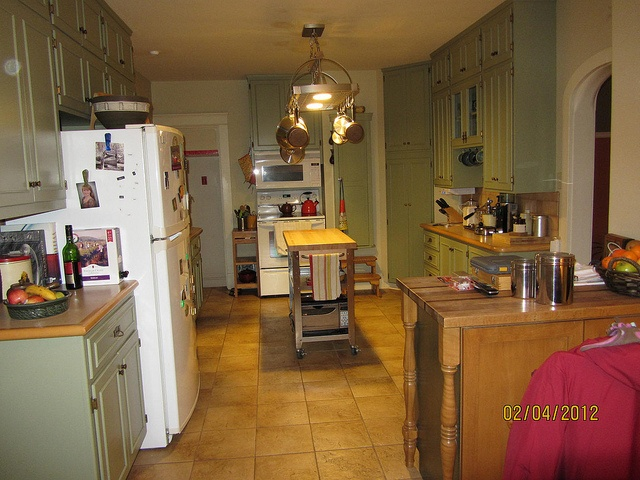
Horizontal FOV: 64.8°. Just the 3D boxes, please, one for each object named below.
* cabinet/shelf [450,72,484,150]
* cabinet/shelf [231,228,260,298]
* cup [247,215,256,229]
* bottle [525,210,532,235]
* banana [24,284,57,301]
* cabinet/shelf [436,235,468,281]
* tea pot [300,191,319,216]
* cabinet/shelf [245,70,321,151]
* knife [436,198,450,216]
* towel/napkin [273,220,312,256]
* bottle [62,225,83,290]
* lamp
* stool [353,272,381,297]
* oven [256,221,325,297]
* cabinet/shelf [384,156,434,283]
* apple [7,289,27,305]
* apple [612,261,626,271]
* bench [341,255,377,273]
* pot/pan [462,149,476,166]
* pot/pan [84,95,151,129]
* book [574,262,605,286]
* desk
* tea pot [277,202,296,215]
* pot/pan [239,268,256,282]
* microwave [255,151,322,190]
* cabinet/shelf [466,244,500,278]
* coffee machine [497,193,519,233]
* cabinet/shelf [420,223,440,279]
[{"bbox_3d":[1.723,-1.362,5.598,0.299,0.769,0.657,-2,4,-13],"label":"cabinet/shelf"},{"bbox_3d":[-1.075,0.318,7.243,0.380,0.937,0.618,-4,12,-9],"label":"cabinet/shelf"},{"bbox_3d":[-0.971,-0.244,7.151,0.158,0.211,0.097,-3,12,-1],"label":"cup"},{"bbox_3d":[2.028,-0.162,4.902,0.065,0.210,0.120,2,13,19],"label":"bottle"},{"bbox_3d":[-1.573,0.291,2.847,0.158,0.049,0.082,18,17,-15],"label":"banana"},{"bbox_3d":[1.381,0.174,5.231,0.225,0.411,0.422,0,8,-4],"label":"cabinet/shelf"},{"bbox_3d":[-0.174,-0.504,7.171,0.349,0.351,0.239,1,-1,-42],"label":"tea pot"},{"bbox_3d":[-0.525,-1.863,7.152,0.970,1.254,0.439,-5,51,-7],"label":"cabinet/shelf"},{"bbox_3d":[1.581,-0.413,6.523,0.168,0.232,0.390,0,12,13],"label":"knife"},{"bbox_3d":[-0.355,-0.029,6.984,0.575,0.545,0.062,-6,36,-12],"label":"towel/napkin"},{"bbox_3d":[-1.624,0.114,3.284,0.113,0.416,0.104,-2,12,1],"label":"bottle"},{"bbox_3d":[-0.019,-1.227,4.129,0.715,0.979,0.681,-5,9,-4],"label":"lamp"},{"bbox_3d":[0.640,0.549,6.856,0.305,0.220,0.418,-1,7,-2],"label":"stool"},{"bbox_3d":[-0.592,0.249,7.320,0.802,1.082,0.740,-2,4,-26],"label":"oven"},{"bbox_3d":[1.276,-0.236,7.008,0.722,1.866,0.235,-1,2,34],"label":"cabinet/shelf"},{"bbox_3d":[-1.669,0.314,2.775,0.085,0.085,0.086,-20,0,8],"label":"apple"},{"bbox_3d":[1.679,0.145,2.825,0.054,0.076,0.053,-6,7,-45],"label":"apple"},{"bbox_3d":[0.620,0.311,7.118,0.365,0.343,0.281,-1,7,-3],"label":"bench"},{"bbox_3d":[1.719,-0.925,5.801,0.108,0.206,0.313,-3,12,-5],"label":"pot/pan"},{"bbox_3d":[-1.487,-0.909,3.664,0.440,0.225,0.424,4,13,14],"label":"pot/pan"},{"bbox_3d":[1.599,0.197,3.024,0.113,0.042,0.149,1,16,11],"label":"book"},{"bbox_3d":[-0.084,0.435,5.504,0.655,1.165,1.428,-2,14,-9],"label":"desk"},{"bbox_3d":[-0.470,-0.427,7.165,0.219,0.165,0.155,1,4,-1],"label":"tea pot"},{"bbox_3d":[-1.034,0.508,7.227,0.200,0.156,0.184,-1,0,-8],"label":"pot/pan"},{"bbox_3d":[-0.511,-0.933,7.061,0.859,0.529,0.523,-1,4,-7],"label":"microwave"},{"bbox_3d":[1.215,0.144,3.725,0.144,0.238,0.253,-1,8,-7],"label":"cabinet/shelf"},{"bbox_3d":[1.968,-0.284,5.331,0.224,0.358,0.546,2,12,20],"label":"coffee machine"},{"bbox_3d":[1.346,0.092,6.490,0.319,0.497,0.321,10,15,20],"label":"cabinet/shelf"}]
